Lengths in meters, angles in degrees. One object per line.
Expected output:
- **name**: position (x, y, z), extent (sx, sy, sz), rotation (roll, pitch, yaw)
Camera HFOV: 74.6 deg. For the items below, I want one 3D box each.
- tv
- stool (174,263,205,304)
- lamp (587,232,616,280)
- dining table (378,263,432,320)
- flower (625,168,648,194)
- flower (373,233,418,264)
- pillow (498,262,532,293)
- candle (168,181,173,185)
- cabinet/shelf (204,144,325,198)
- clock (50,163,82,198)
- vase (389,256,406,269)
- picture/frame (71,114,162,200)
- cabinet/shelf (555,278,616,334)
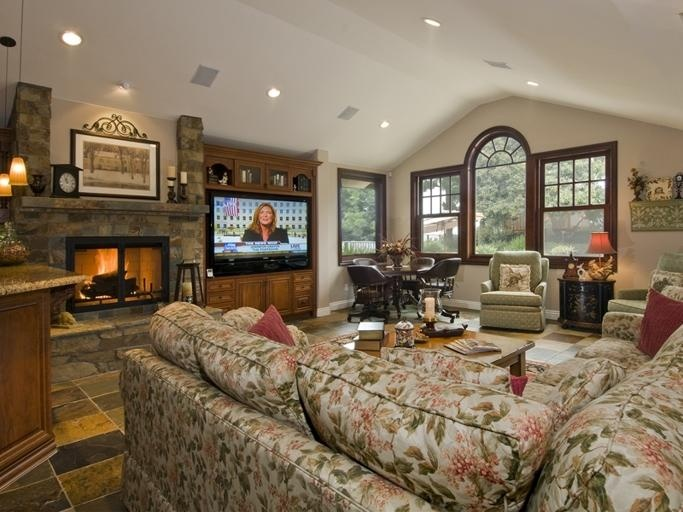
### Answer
- **tv**: position (-1.093, -0.358, 6.178), extent (1.481, 0.970, 0.074), rotation (-3, 6, -34)
- **stool**: position (-1.813, 0.377, 5.216), extent (0.428, 0.518, 0.403), rotation (6, -10, -27)
- **lamp**: position (3.242, 0.018, 5.622), extent (0.355, 0.600, 0.351), rotation (-6, 2, -36)
- **dining table**: position (0.857, 0.482, 6.649), extent (0.876, 0.587, 0.846), rotation (0, 3, -21)
- **flower**: position (3.658, -0.922, 5.550), extent (0.214, 0.342, 0.178), rotation (3, 0, 34)
- **flower**: position (0.890, -0.072, 6.915), extent (0.558, 0.394, 0.544), rotation (1, -2, -11)
- **pillow**: position (2.307, 0.296, 5.931), extent (0.367, 0.362, 0.132), rotation (2, -15, 30)
- **candle**: position (-1.930, -0.816, 5.087), extent (0.059, 0.058, 0.044), rotation (3, 6, 23)
- **cabinet/shelf**: position (-1.062, -1.113, 6.128), extent (1.743, 0.672, 0.179), rotation (2, 0, -40)
- **clock**: position (-2.722, -0.734, 4.432), extent (0.216, 0.316, 0.113), rotation (2, 0, -36)
- **vase**: position (0.845, 0.096, 6.688), extent (0.226, 0.171, 0.234), rotation (5, -6, -43)
- **picture/frame**: position (-2.472, -1.070, 4.842), extent (0.070, 1.134, 1.092), rotation (4, 2, 45)
- **cabinet/shelf**: position (3.091, 0.635, 5.668), extent (0.431, 0.623, 0.638), rotation (-4, 4, -36)
